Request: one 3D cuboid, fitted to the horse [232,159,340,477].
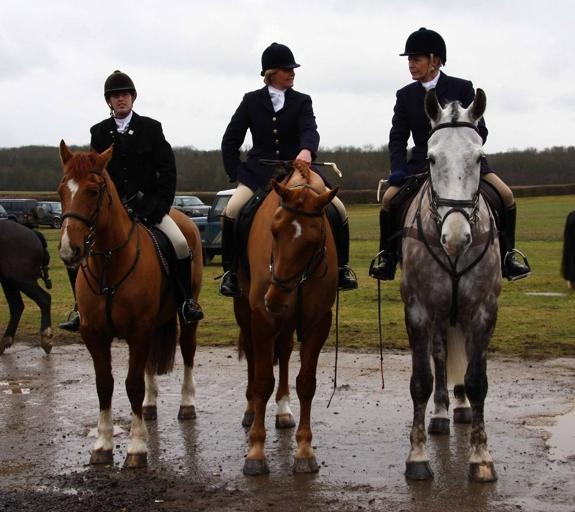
[{"bbox_3d":[-0.020,0.509,8.131,0.966,2.861,1.794,-2,4,-5],"label":"horse"}]

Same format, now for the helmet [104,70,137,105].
[{"bbox_3d":[-1.804,-1.872,9.053,0.302,0.256,0.274,-3,4,-14],"label":"helmet"}]

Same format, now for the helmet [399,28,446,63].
[{"bbox_3d":[1.462,-2.278,9.061,0.547,0.407,0.412,-1,9,-10],"label":"helmet"}]

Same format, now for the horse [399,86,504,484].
[{"bbox_3d":[1.542,0.199,7.962,0.922,3.458,1.976,-1,4,8],"label":"horse"}]

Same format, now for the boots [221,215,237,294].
[{"bbox_3d":[-0.602,-0.048,8.840,0.194,0.823,0.437,0,7,-4],"label":"boots"}]

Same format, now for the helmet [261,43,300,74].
[{"bbox_3d":[-0.088,-2.087,8.834,0.369,0.307,0.589,-2,4,-1],"label":"helmet"}]
